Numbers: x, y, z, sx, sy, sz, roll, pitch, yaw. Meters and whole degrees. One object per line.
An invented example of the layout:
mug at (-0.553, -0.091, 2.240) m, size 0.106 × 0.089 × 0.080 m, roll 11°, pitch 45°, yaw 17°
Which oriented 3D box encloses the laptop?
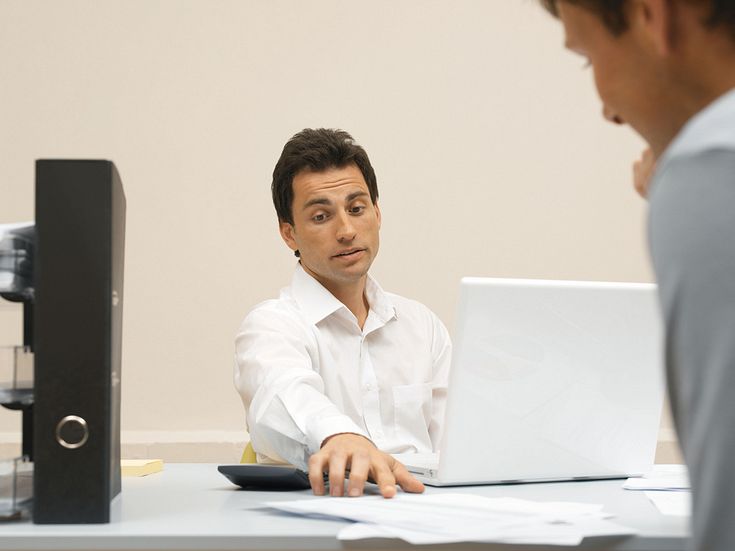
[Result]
laptop at (0.283, 0.175, 1.271) m, size 0.419 × 0.330 × 0.326 m, roll 2°, pitch -4°, yaw -20°
